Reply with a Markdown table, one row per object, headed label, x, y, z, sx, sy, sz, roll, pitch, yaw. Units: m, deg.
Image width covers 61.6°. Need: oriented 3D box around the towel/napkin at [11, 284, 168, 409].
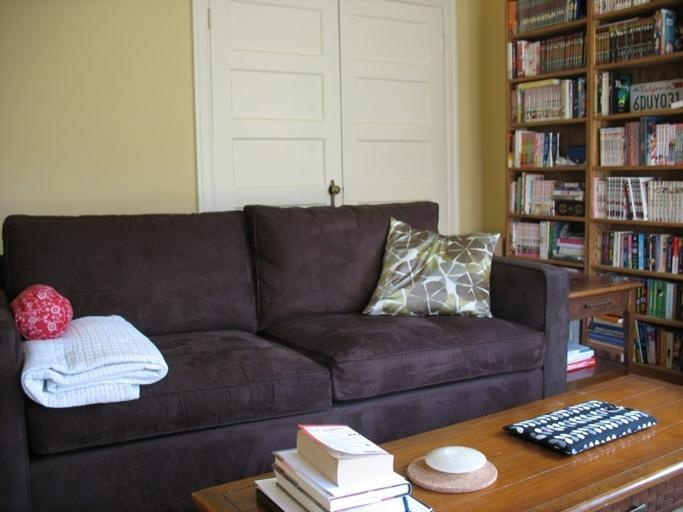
| label | x | y | z | sx | sy | sz | roll | pitch | yaw |
| --- | --- | --- | --- | --- | --- | --- | --- | --- | --- |
| towel/napkin | -0.983 | 0.310 | 2.199 | 0.481 | 0.389 | 0.572 | -10 | 10 | -32 |
